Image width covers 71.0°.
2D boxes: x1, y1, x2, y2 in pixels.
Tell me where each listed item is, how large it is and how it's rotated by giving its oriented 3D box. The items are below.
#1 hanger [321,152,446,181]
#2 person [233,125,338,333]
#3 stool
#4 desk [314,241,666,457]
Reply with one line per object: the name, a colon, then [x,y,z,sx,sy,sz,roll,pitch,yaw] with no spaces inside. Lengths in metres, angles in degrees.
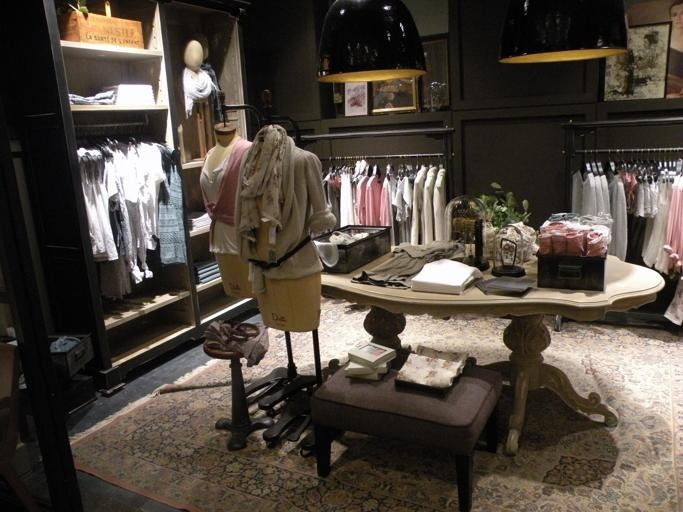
hanger: [0.415,-0.957,5.103,1.445,0.258,0.842,-1,14,13]
person: [-0.335,-0.150,2.897,0.573,1.246,0.316,-7,14,-13]
stool: [0.347,0.833,2.540,0.789,0.536,0.788,3,15,25]
desk: [1.302,0.649,3.440,1.142,0.788,1.874,-2,-7,16]
